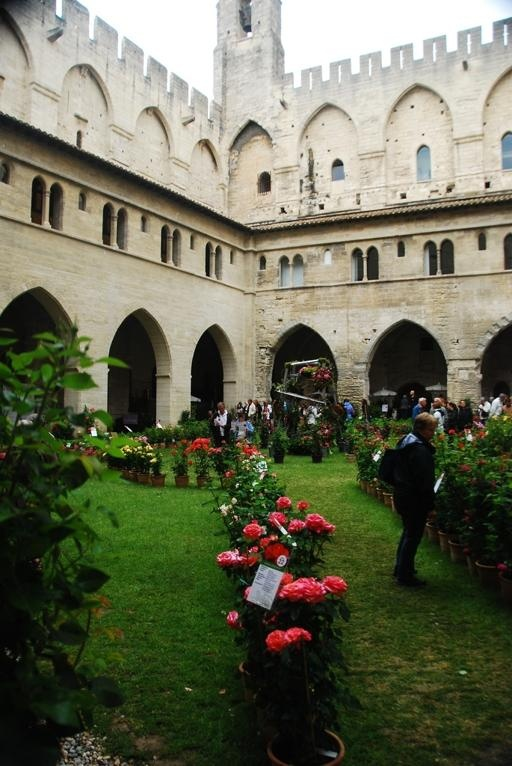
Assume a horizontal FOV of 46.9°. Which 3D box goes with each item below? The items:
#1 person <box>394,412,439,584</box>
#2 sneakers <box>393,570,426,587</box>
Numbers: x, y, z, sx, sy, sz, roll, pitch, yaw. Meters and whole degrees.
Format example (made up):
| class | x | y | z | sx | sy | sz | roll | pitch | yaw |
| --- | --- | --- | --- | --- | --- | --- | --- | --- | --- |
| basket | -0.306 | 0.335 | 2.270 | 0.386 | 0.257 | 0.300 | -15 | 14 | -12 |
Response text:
| class | x | y | z | sx | sy | sz | roll | pitch | yaw |
| --- | --- | --- | --- | --- | --- | --- | --- | --- | --- |
| person | 1.504 | 1.122 | 5.625 | 0.370 | 1.665 | 0.478 | 1 | -4 | 18 |
| sneakers | 1.484 | 1.907 | 5.746 | 0.287 | 0.210 | 0.099 | -2 | 4 | -8 |
